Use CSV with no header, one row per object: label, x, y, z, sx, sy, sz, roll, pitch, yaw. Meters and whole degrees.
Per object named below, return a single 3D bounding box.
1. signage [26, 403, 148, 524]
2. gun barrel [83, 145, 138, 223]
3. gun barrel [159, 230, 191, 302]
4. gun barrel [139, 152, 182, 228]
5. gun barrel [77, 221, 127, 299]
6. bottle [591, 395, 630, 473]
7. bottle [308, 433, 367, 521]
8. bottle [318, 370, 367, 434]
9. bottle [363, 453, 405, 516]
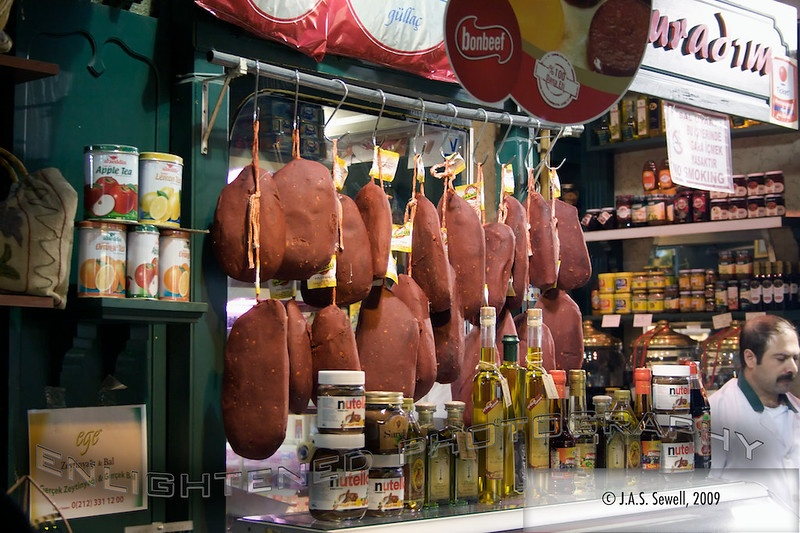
signage,-0.904,0.555,2.279,0.367,0.334,0.037,-2,-4,-32
gun barrel,-0.827,-0.222,2.260,0.176,0.200,0.173,3,-1,39
gun barrel,-0.662,-0.002,2.309,0.121,0.203,0.118,1,-1,0
gun barrel,-0.692,-0.210,2.307,0.129,0.204,0.128,2,-3,0
gun barrel,-0.823,-0.012,2.217,0.124,0.209,0.130,-1,-8,0
bottle,0.662,0.523,2.462,0.121,0.204,0.119,0,-2,0
bottle,-0.163,0.553,2.156,0.167,0.236,0.133,6,-9,-30
bottle,-0.156,0.362,2.145,0.145,0.167,0.146,2,-7,-12
bottle,-0.034,0.577,2.177,0.138,0.151,0.139,-3,-6,28
